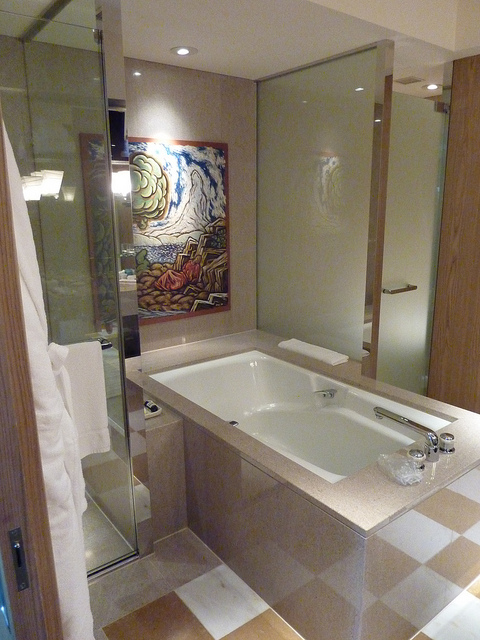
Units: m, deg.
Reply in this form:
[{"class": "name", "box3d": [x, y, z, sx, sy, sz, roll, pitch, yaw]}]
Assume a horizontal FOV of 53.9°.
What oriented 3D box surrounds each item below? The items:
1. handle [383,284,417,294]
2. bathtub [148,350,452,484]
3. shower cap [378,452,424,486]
[{"class": "handle", "box3d": [0.915, -0.176, 2.692, 0.212, 0.034, 0.061, -10, 14, -28]}, {"class": "bathtub", "box3d": [0.242, 0.436, 2.119, 0.700, 0.234, 1.279, -11, 16, -37]}, {"class": "shower cap", "box3d": [0.500, 0.464, 1.495, 0.109, 0.042, 0.180, -6, 13, -10]}]
